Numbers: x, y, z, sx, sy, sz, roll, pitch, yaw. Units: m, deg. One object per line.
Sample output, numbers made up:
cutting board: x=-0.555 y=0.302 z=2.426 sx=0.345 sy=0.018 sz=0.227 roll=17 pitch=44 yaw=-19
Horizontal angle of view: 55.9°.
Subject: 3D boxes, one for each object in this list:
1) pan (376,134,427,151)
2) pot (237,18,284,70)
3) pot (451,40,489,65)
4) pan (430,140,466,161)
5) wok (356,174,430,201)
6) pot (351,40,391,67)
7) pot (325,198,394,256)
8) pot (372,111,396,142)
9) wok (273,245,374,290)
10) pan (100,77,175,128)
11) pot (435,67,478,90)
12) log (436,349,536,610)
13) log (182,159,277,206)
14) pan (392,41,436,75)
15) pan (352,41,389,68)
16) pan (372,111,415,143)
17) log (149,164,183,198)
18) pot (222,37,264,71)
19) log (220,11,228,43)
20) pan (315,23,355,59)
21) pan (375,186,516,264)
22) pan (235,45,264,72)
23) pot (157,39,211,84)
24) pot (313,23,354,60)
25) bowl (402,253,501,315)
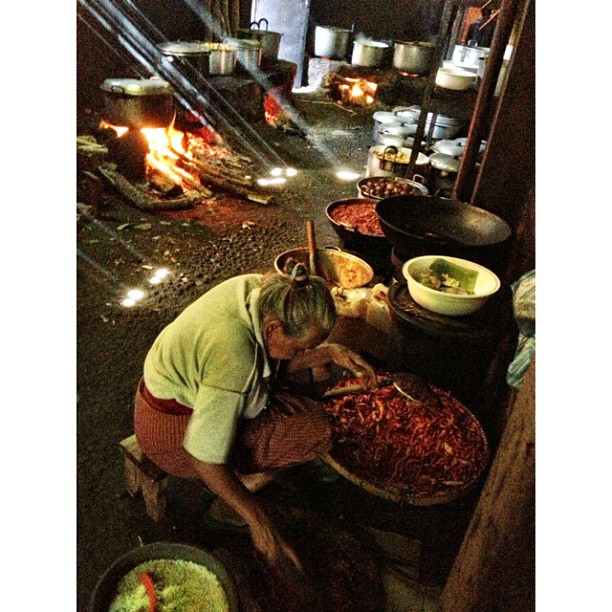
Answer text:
pan: x=1.320 y=-2.360 z=8.257 sx=0.758 sy=0.139 sz=0.650 roll=2 pitch=17 yaw=-6
pot: x=-0.684 y=-4.705 z=10.349 sx=0.970 sy=1.075 sz=0.809 roll=13 pitch=34 yaw=14
pot: x=2.487 y=-3.764 z=8.678 sx=0.389 sy=0.239 sz=1.016 roll=1 pitch=30 yaw=5
pan: x=1.897 y=-2.067 z=7.574 sx=0.459 sy=0.099 sz=0.390 roll=7 pitch=33 yaw=8
wok: x=0.889 y=-1.204 z=5.853 sx=0.668 sy=0.218 sz=0.578 roll=-18 pitch=35 yaw=-28
pot: x=1.327 y=-5.242 z=11.976 sx=0.723 sy=0.384 sz=0.659 roll=0 pitch=35 yaw=0
pot: x=0.500 y=-0.709 z=5.161 sx=0.557 sy=0.241 sz=0.717 roll=26 pitch=37 yaw=16
pot: x=1.219 y=-2.934 z=9.437 sx=0.530 sy=0.359 sz=0.447 roll=-4 pitch=28 yaw=0
wok: x=0.157 y=-0.271 z=4.059 sx=0.603 sy=0.255 sz=0.575 roll=22 pitch=24 yaw=26
pan: x=-1.984 y=-2.341 z=6.619 sx=0.705 sy=0.686 sz=0.592 roll=-16 pitch=38 yaw=-35
pot: x=1.559 y=-2.348 z=6.072 sx=0.369 sy=0.125 sz=0.359 roll=2 pitch=31 yaw=-1
log: x=0.654 y=0.868 z=2.110 sx=0.194 sy=1.425 sz=0.663 roll=4 pitch=37 yaw=9
log: x=-0.960 y=-1.605 z=7.434 sx=1.266 sy=0.427 sz=0.322 roll=15 pitch=38 yaw=26
pan: x=1.993 y=-4.595 z=10.745 sx=0.798 sy=0.615 sz=0.561 roll=8 pitch=35 yaw=15
pan: x=1.328 y=-5.182 z=12.010 sx=0.667 sy=0.343 sz=0.599 roll=16 pitch=38 yaw=20
pan: x=1.378 y=-2.891 z=9.196 sx=0.647 sy=0.360 sz=0.545 roll=-3 pitch=27 yaw=-6
log: x=-1.749 y=-1.499 z=6.957 sx=0.270 sy=0.143 sz=0.501 roll=-35 pitch=52 yaw=-24
pot: x=-0.957 y=-4.188 z=9.704 sx=0.789 sy=0.433 sz=0.531 roll=9 pitch=35 yaw=4
log: x=-1.458 y=-4.923 z=10.159 sx=0.076 sy=0.463 sz=0.233 roll=12 pitch=38 yaw=19
pan: x=0.571 y=-5.652 z=12.296 sx=0.909 sy=0.526 sz=0.624 roll=2 pitch=40 yaw=1
pan: x=1.023 y=-0.589 z=4.354 sx=1.197 sy=0.576 sz=0.851 roll=10 pitch=23 yaw=13
pan: x=-0.964 y=-4.180 z=9.734 sx=0.578 sy=0.399 sz=0.483 roll=2 pitch=31 yaw=-4
pot: x=-1.638 y=-3.362 z=8.111 sx=0.817 sy=0.643 sz=0.677 roll=-5 pitch=40 yaw=-12
pot: x=0.535 y=-5.541 z=12.227 sx=0.954 sy=0.687 sz=0.626 roll=6 pitch=45 yaw=2
bowl: x=0.886 y=-0.123 z=3.561 sx=0.492 sy=0.235 sz=0.539 roll=-1 pitch=31 yaw=1
